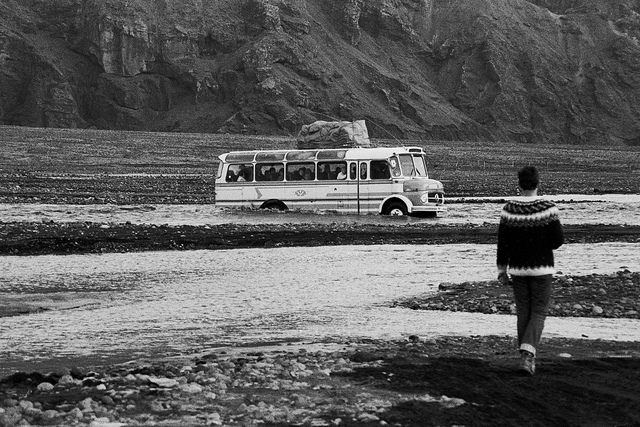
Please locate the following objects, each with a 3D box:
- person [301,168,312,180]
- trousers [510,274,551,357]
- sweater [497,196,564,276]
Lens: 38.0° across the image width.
[{"bbox_3d":[-0.595,-1.884,45.217,0.299,0.756,0.192,0,-25,24],"label":"person"},{"bbox_3d":[4.089,1.922,17.979,0.729,1.451,0.721,1,2,13],"label":"trousers"},{"bbox_3d":[4.120,0.446,18.253,1.237,1.552,0.360,1,2,13],"label":"sweater"}]
